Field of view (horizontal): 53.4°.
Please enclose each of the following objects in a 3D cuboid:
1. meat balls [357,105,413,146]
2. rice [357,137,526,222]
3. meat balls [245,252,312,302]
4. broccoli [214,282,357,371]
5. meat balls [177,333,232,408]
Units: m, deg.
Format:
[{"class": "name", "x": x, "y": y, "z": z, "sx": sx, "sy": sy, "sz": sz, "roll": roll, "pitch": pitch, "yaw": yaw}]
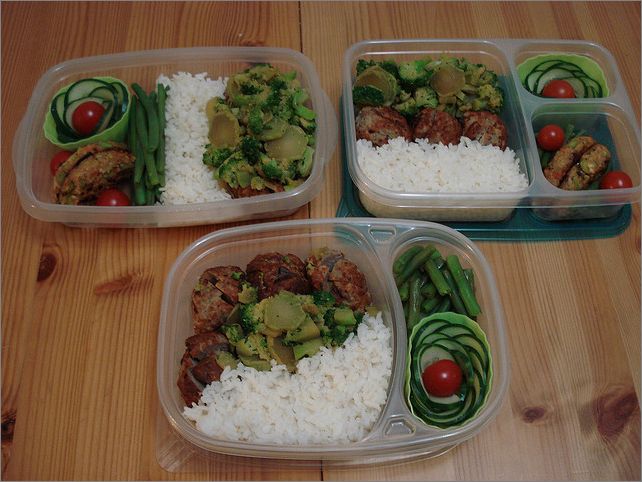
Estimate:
[{"class": "meat balls", "x": 0.369, "y": -0.719, "z": 3.813, "sx": 0.182, "sy": 0.275, "sz": 0.261, "roll": 8, "pitch": 36, "yaw": 36}, {"class": "rice", "x": 0.751, "y": -0.365, "z": 3.892, "sx": 1.011, "sy": 0.391, "sz": 0.645, "roll": 3, "pitch": 46, "yaw": 3}, {"class": "meat balls", "x": -0.241, "y": 0.185, "z": 3.472, "sx": 0.249, "sy": 0.118, "sz": 0.268, "roll": 3, "pitch": 69, "yaw": -7}, {"class": "broccoli", "x": -0.209, "y": 0.465, "z": 3.391, "sx": 0.762, "sy": 0.238, "sz": 0.771, "roll": -4, "pitch": 82, "yaw": 0}, {"class": "meat balls", "x": -0.647, "y": 0.636, "z": 3.442, "sx": 0.278, "sy": 0.341, "sz": 0.296, "roll": 0, "pitch": 35, "yaw": 0}]
